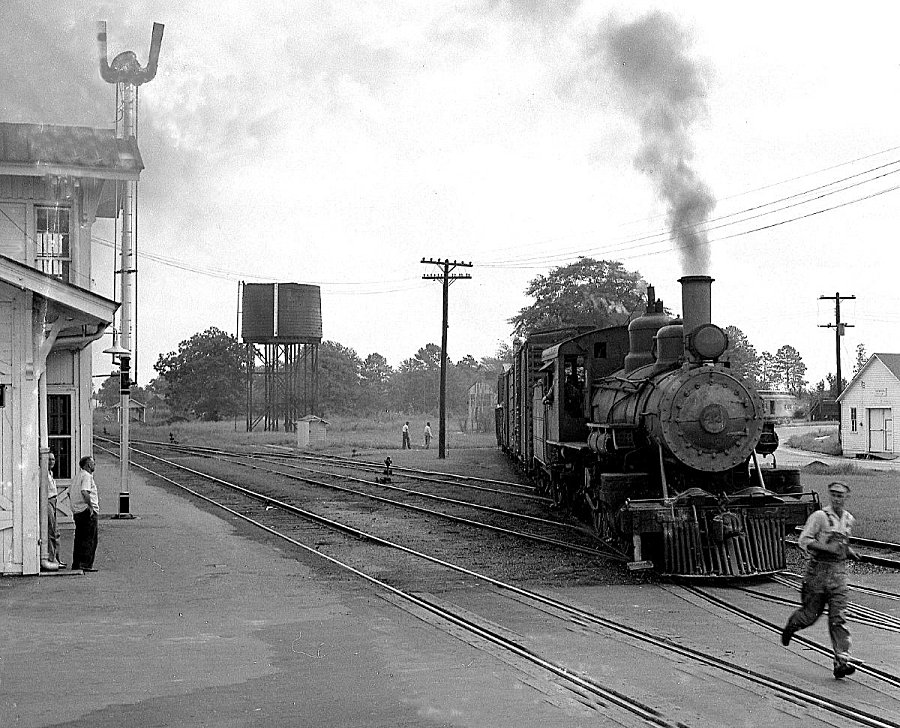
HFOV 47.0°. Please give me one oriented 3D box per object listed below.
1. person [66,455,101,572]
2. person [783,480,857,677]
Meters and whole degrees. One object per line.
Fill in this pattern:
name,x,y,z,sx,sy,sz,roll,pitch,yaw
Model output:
person,-5.366,2.216,15.240,0.369,1.655,1.226,2,-5,-19
person,3.742,2.177,10.536,0.652,1.883,1.006,-1,-5,21
